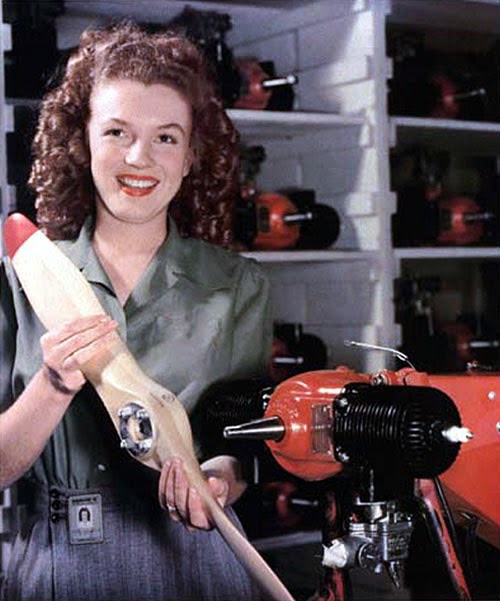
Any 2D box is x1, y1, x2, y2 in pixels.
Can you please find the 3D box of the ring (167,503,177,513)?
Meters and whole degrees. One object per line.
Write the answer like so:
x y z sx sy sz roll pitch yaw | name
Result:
-0.115 0.308 1.165 0.013 0.007 0.014 25 -11 5 | ring
